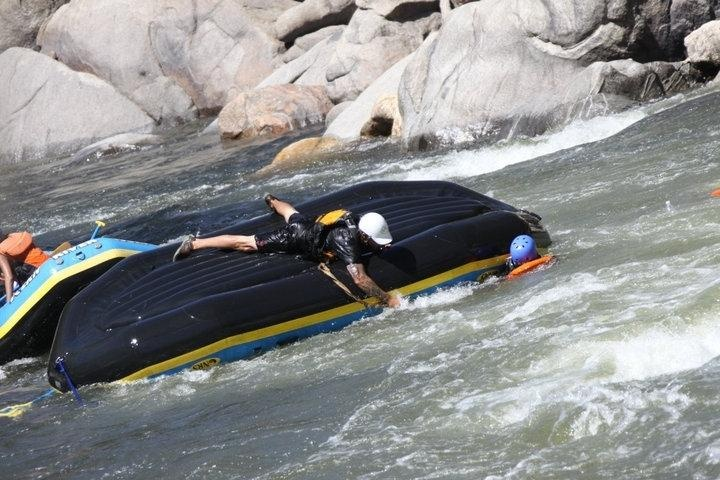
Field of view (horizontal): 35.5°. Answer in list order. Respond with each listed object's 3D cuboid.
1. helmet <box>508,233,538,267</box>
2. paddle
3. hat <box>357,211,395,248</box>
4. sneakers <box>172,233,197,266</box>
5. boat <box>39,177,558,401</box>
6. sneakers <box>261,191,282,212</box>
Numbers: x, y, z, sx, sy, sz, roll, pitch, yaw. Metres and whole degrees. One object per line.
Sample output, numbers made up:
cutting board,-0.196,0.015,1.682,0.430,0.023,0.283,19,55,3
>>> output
helmet,2.371,0.145,16.427,0.454,0.434,0.486,11,-16,1
paddle,-4.971,0.372,17.032,0.989,0.311,0.907,-28,24,-8
hat,0.291,-0.180,15.886,0.273,0.534,0.390,-48,1,33
sneakers,-2.534,0.118,16.337,0.228,0.184,0.485,30,73,34
boat,-0.816,0.608,16.034,6.721,0.891,2.886,-11,15,-8
sneakers,-1.331,-0.591,16.847,0.162,0.397,0.159,-45,3,-1
